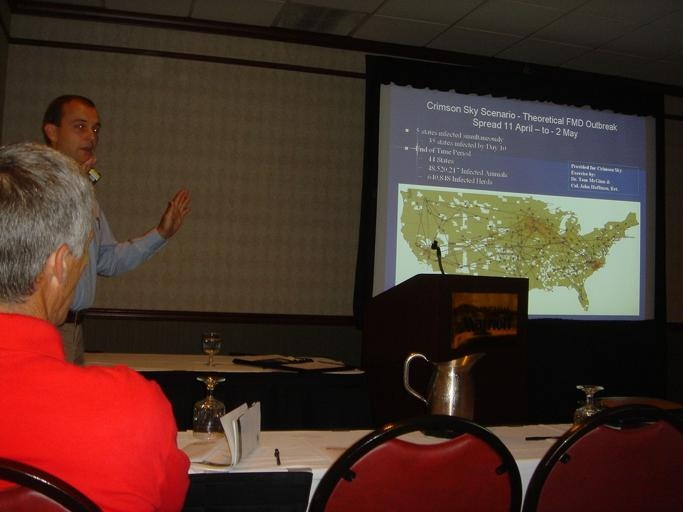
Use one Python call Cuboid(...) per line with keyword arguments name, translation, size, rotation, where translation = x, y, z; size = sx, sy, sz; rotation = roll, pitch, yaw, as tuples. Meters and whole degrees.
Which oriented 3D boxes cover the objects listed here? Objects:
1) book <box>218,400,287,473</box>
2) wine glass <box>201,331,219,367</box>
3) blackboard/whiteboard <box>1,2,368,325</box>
Cuboid(name="book", translation=(-0.291, 0.505, 1.736), size=(0.056, 0.172, 0.217), rotation=(2, 0, 11))
Cuboid(name="wine glass", translation=(-0.669, 0.462, 3.023), size=(0.076, 0.170, 0.418), rotation=(3, 0, -12))
Cuboid(name="blackboard/whiteboard", translation=(-1.020, -0.651, 3.875), size=(2.102, 1.699, 0.078), rotation=(2, -6, -19))
